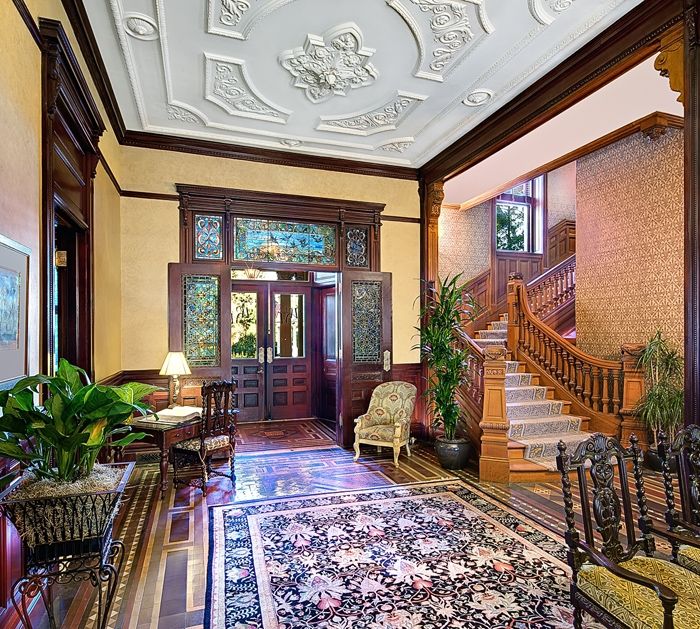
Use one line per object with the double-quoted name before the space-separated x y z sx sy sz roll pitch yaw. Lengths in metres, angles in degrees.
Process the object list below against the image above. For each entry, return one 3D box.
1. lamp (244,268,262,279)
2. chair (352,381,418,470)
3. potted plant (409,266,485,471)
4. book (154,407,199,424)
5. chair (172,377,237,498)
"lamp" -1.667 -0.654 8.264 0.345 0.171 0.220 0 1 -14
"chair" 0.415 1.365 6.184 0.808 0.937 0.800 0 -2 -7
"potted plant" 1.208 0.632 6.094 0.777 2.253 1.745 0 1 8
"book" -1.752 0.995 4.869 0.409 0.106 0.426 1 4 14
"chair" -1.539 1.216 5.130 0.498 1.063 0.553 -4 -6 42
